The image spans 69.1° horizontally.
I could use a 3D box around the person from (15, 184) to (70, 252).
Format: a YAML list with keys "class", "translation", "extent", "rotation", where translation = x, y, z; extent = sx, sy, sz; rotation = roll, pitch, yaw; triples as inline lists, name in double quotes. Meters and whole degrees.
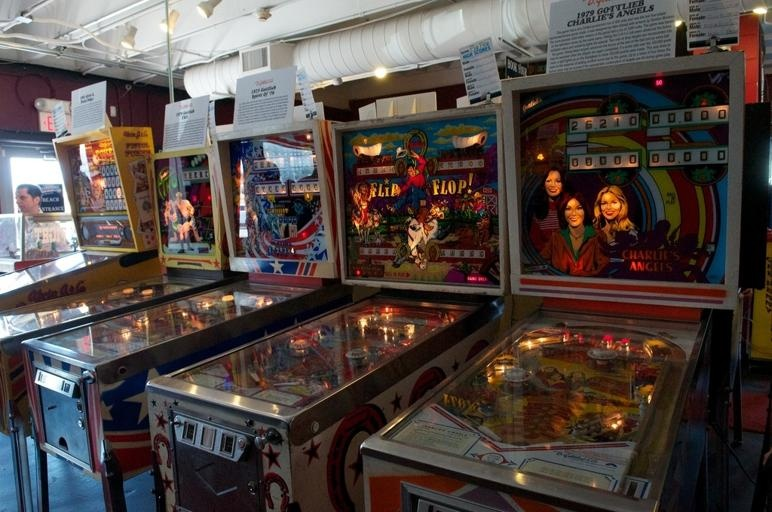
- class: "person"
  translation: [-3.391, -0.372, 5.493]
  extent: [0.364, 0.681, 0.995]
  rotation: [-10, 10, -34]
